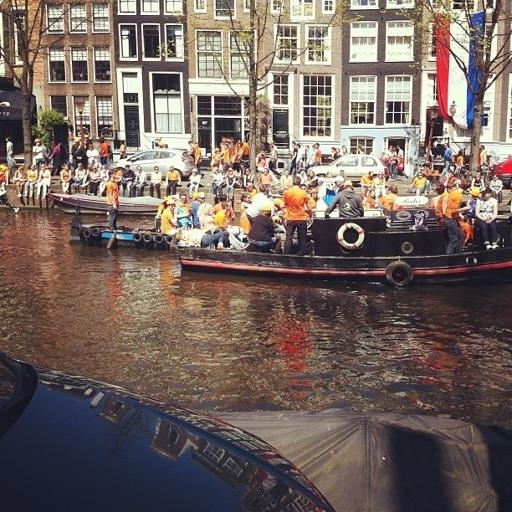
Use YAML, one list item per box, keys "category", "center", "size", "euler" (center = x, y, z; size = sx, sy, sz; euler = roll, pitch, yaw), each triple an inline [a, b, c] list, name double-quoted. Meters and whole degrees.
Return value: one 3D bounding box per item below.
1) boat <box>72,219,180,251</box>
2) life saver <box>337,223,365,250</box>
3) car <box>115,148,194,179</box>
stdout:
- category: "boat"
  center: [-3.671, -0.491, 19.666]
  size: [3.148, 0.699, 1.089]
  euler: [3, 13, 17]
- category: "life saver"
  center: [1.894, -0.395, 14.544]
  size: [0.540, 0.555, 0.245]
  euler: [3, 5, 6]
- category: "car"
  center: [-4.272, -3.986, 31.211]
  size: [2.927, 1.005, 1.386]
  euler: [3, 5, 1]
